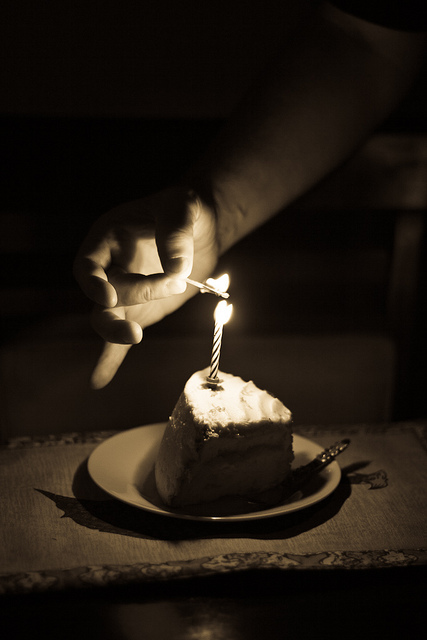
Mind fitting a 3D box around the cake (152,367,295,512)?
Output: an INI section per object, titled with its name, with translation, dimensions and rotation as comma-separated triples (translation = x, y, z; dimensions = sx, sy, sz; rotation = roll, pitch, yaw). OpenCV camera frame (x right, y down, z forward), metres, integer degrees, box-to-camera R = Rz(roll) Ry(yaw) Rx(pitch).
[cake]
translation = 0.018, 0.157, 0.921
dimensions = 0.196, 0.176, 0.181
rotation = 2, 0, -4
